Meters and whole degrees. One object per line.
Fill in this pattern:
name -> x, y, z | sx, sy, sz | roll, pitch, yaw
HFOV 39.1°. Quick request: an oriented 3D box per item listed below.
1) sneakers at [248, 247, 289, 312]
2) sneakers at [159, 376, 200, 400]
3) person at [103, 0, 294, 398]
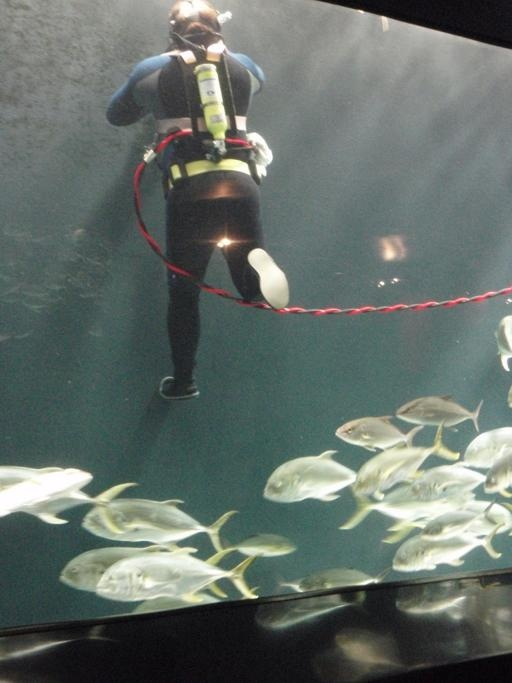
sneakers -> 0.043, -0.204, 2.388 | 0.140, 0.191, 0.095 | -11, -14, -47
sneakers -> -0.266, 0.177, 2.621 | 0.179, 0.063, 0.058 | 7, -19, -18
person -> -0.203, -0.451, 2.505 | 0.545, 1.362, 0.648 | -5, 28, 0
